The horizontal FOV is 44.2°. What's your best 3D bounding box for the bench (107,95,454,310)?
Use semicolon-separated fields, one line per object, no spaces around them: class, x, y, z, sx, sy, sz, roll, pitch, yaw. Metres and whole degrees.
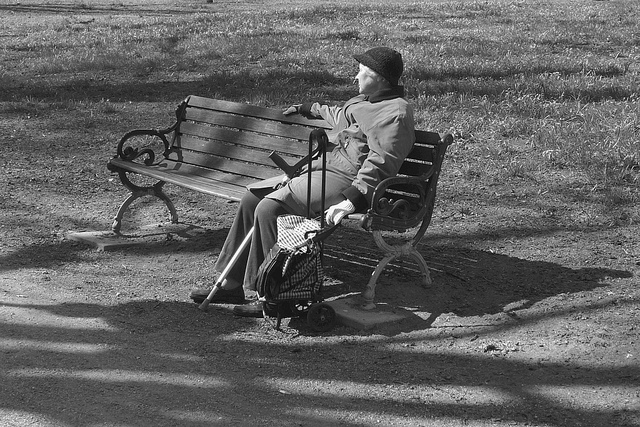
bench;-1.615;-0.478;8.889;5.493;1.669;1.760;14;20;36

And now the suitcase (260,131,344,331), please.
suitcase;-0.120;0.118;7.280;0.795;1.808;0.771;5;19;-4
